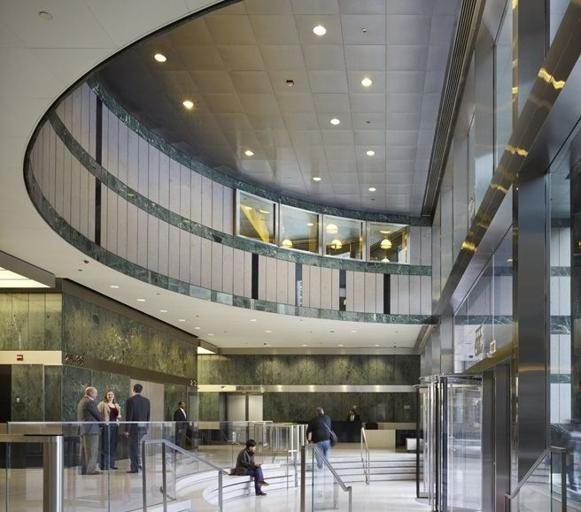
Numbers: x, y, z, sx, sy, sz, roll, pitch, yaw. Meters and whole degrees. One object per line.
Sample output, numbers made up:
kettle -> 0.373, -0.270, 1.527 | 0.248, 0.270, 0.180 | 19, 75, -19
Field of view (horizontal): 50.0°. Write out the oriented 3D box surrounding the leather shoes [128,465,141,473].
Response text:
leather shoes -> -1.965, 2.673, 7.848 | 0.135, 0.119, 0.053 | 3, -12, 4

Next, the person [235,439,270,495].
person -> -0.928, 4.877, 14.506 | 0.517, 1.225, 0.821 | -4, -15, 39
